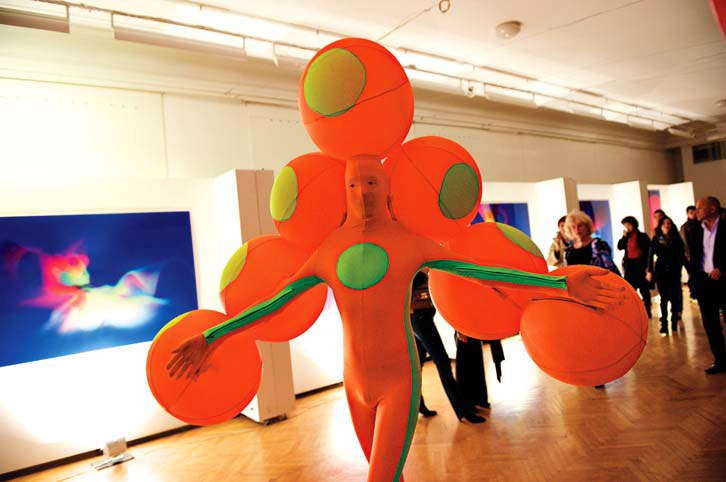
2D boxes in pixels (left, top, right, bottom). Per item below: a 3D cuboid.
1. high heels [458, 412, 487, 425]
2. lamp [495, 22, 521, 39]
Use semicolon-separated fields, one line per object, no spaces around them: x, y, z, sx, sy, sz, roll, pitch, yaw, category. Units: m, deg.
1.151;1.864;5.448;0.322;0.144;0.121;-4;1;16;high heels
1.841;-2.665;6.449;0.320;0.127;0.396;-3;8;18;lamp
